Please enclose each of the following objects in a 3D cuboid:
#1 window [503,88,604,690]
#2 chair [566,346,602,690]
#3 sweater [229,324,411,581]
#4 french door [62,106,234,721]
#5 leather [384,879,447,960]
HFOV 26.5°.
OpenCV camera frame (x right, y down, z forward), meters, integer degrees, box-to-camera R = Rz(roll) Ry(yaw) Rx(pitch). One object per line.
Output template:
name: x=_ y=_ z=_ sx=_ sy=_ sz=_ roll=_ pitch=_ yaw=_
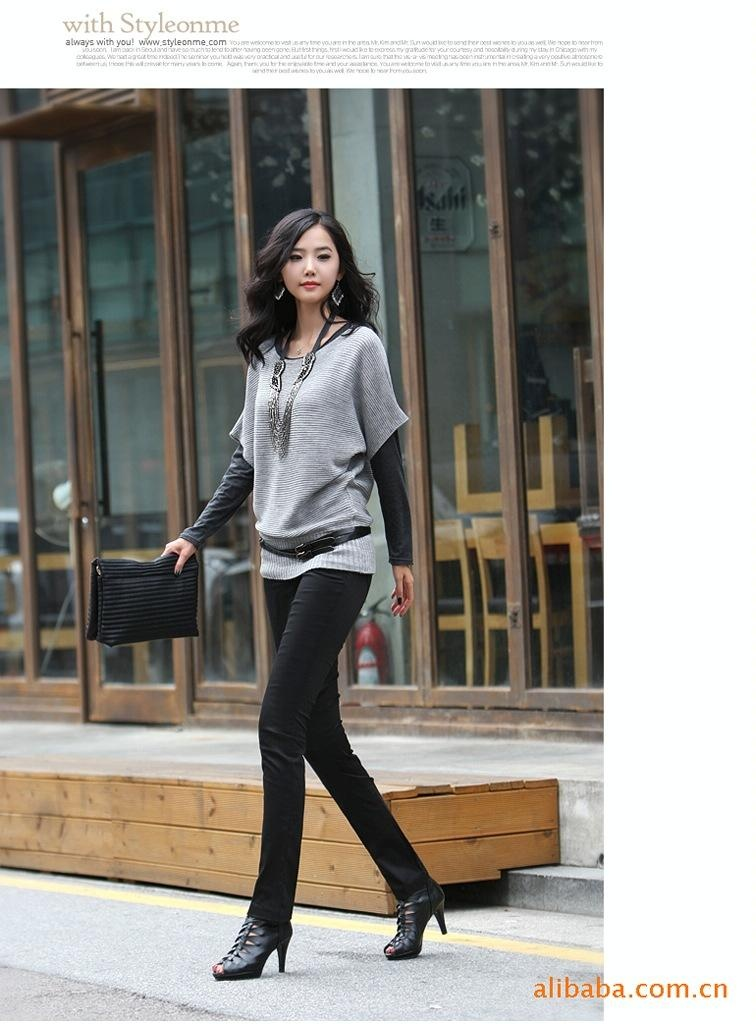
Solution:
window: x=0.669 y=-0.373 z=6.252 sx=0.065 sy=2.355 sz=0.496 roll=3 pitch=6 yaw=45
chair: x=0.795 y=0.009 z=6.165 sx=0.131 sy=1.301 sz=0.086 roll=-2 pitch=2 yaw=21
sweater: x=-0.140 y=-0.150 z=3.961 sx=0.440 sy=0.606 sz=0.257 roll=-3 pitch=2 yaw=7
french door: x=-1.222 y=-0.468 z=7.952 sx=0.844 sy=3.368 sz=0.168 roll=1 pitch=3 yaw=39
leather: x=0.088 y=1.009 z=4.004 sx=0.083 sy=0.162 sz=0.230 roll=-9 pitch=7 yaw=45
